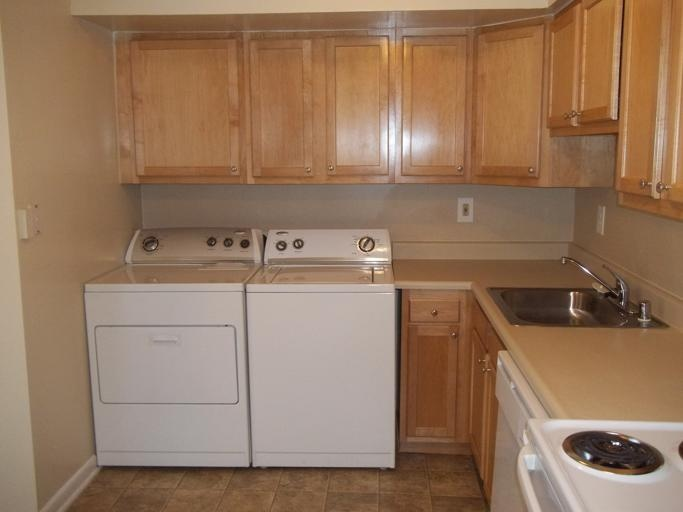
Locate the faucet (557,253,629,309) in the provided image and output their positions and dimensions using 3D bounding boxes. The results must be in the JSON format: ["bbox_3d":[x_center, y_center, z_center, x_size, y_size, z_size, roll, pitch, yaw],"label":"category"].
[{"bbox_3d":[1.181,0.121,2.601,0.217,0.197,0.271,2,7,22],"label":"faucet"}]

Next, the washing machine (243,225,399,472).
[{"bbox_3d":[-0.099,0.495,3.213,0.761,1.249,0.574,-1,7,2],"label":"washing machine"}]

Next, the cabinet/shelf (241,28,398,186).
[{"bbox_3d":[-0.114,-0.875,3.213,0.870,0.752,0.331,0,6,2],"label":"cabinet/shelf"}]

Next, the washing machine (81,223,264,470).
[{"bbox_3d":[-0.806,0.520,3.488,1.223,1.629,1.083,0,3,2],"label":"washing machine"}]

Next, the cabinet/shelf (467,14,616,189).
[{"bbox_3d":[1.113,-0.797,3.469,0.843,1.214,0.882,0,6,-5],"label":"cabinet/shelf"}]
